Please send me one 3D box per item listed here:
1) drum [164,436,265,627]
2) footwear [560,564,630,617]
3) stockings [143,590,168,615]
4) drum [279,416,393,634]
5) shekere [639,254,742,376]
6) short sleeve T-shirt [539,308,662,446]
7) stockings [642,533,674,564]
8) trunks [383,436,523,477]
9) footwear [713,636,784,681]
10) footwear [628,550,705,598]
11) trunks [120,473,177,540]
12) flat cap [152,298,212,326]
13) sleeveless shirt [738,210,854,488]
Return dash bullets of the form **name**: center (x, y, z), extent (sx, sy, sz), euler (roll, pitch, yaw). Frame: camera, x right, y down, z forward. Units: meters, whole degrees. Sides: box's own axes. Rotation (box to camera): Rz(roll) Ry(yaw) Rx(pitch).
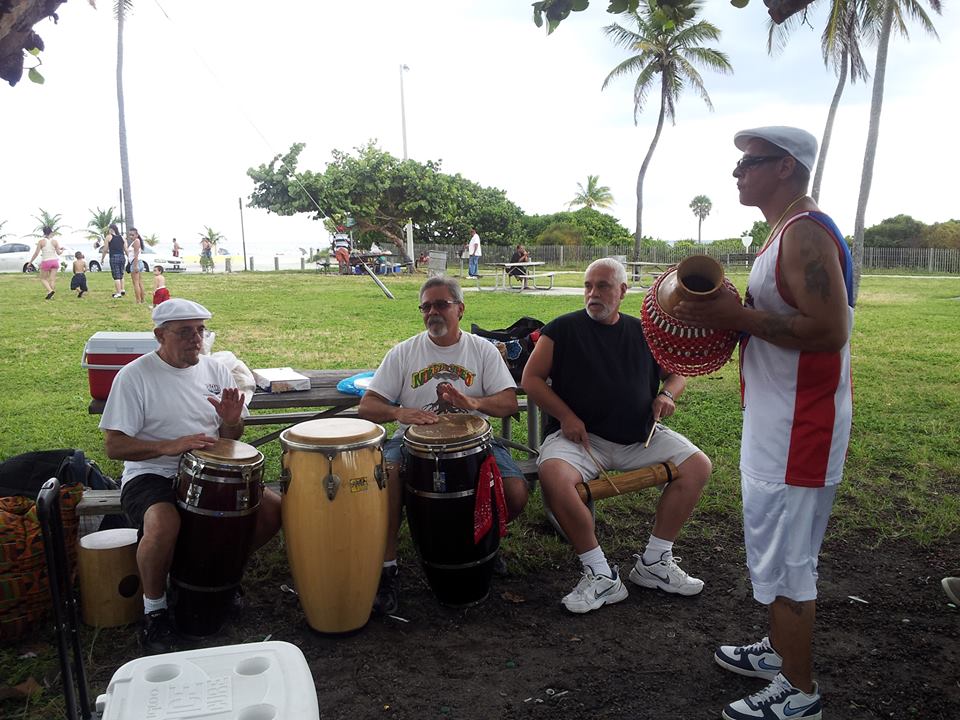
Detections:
- **drum**: center (-1.378, 0.962, 3.655), extent (0.495, 0.989, 0.200), euler (-2, 8, 8)
- **footwear**: center (0.656, 1.314, 4.005), extent (0.484, 0.251, 0.162), euler (-4, -4, -27)
- **stockings**: center (-1.677, 1.261, 3.606), extent (0.098, 0.096, 0.106), euler (4, -13, -36)
- **drum**: center (-0.749, 0.913, 3.689), extent (0.545, 1.084, 0.235), euler (-6, 9, -19)
- **shekere**: center (0.955, -0.172, 3.341), extent (0.496, 0.534, 0.646), euler (7, -14, 17)
- **short sleeve T-shirt**: center (0.739, 0.131, 4.241), extent (0.774, 0.823, 0.433), euler (1, -3, -13)
- **stockings**: center (1.027, 1.112, 4.076), extent (0.178, 0.190, 0.111), euler (0, 4, 3)
- **trunks**: center (-0.122, 0.598, 4.237), extent (0.439, 0.153, 0.434), euler (2, 1, 1)
- **footwear**: center (1.301, 1.440, 3.433), extent (0.340, 0.162, 0.118), euler (5, 6, 33)
- **footwear**: center (1.074, 1.275, 4.160), extent (0.486, 0.282, 0.182), euler (5, 2, 6)
- **trunks**: center (-1.778, 0.723, 3.697), extent (0.228, 0.419, 0.161), euler (2, 6, -5)
- **flat cap**: center (-1.684, -0.251, 3.906), extent (0.232, 0.079, 0.204), euler (-5, 5, 9)
- **sleeveless shirt**: center (1.370, -0.037, 3.044), extent (0.453, 1.180, 0.318), euler (2, 10, 29)
